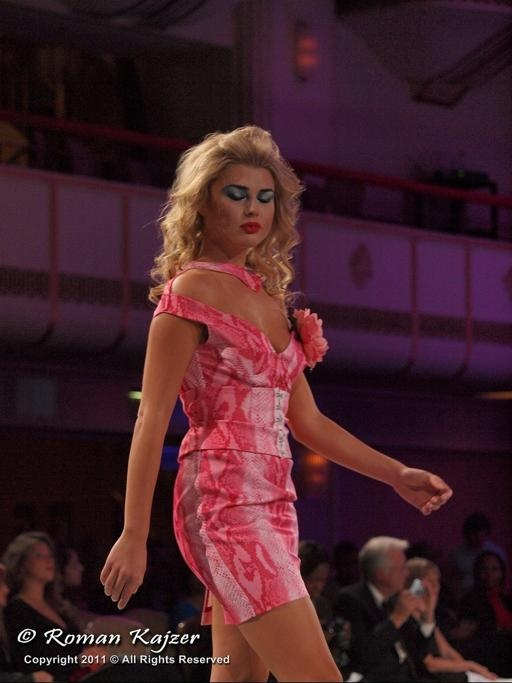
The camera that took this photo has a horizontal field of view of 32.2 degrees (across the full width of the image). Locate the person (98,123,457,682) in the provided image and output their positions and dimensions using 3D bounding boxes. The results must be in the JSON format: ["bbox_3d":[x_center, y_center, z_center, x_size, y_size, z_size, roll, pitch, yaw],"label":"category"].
[{"bbox_3d":[0.068,0.101,1.770,0.619,1.163,0.530,5,-5,-3],"label":"person"}]
